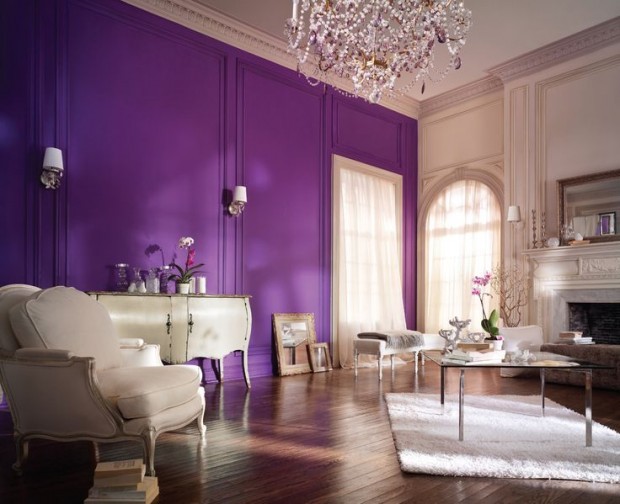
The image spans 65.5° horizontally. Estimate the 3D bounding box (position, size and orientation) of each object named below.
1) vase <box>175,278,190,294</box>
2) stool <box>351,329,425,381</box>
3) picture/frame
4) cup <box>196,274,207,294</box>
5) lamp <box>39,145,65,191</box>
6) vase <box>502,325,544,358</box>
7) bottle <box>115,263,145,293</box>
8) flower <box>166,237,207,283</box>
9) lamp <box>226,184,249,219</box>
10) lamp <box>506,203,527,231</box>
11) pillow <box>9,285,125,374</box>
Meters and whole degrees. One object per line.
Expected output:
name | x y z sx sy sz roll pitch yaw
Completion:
vase | -1.269 0.336 4.790 0.130 0.104 0.124 5 -4 -33
stool | 0.910 1.190 5.693 0.506 0.522 0.861 -2 -4 44
picture/frame | -0.135 1.157 6.035 0.239 0.656 0.640 -17 -18 42
cup | -1.120 0.328 5.010 0.143 0.178 0.143 0 -2 0
lamp | -2.356 -0.786 4.402 0.198 0.390 0.222 2 -2 -35
vase | 2.180 0.911 4.942 0.318 0.350 0.229 3 -9 5
bottle | -1.790 0.240 4.743 0.269 0.323 0.277 0 -1 -14
flower | -1.262 0.091 5.180 0.380 0.565 0.481 -6 -11 40
lamp | -0.850 -0.602 5.632 0.189 0.344 0.188 -11 -16 30
lamp | 2.780 -0.491 6.525 0.258 0.418 0.293 -3 1 19
pillow | -1.432 0.449 2.833 0.162 0.530 0.472 -28 -10 22
